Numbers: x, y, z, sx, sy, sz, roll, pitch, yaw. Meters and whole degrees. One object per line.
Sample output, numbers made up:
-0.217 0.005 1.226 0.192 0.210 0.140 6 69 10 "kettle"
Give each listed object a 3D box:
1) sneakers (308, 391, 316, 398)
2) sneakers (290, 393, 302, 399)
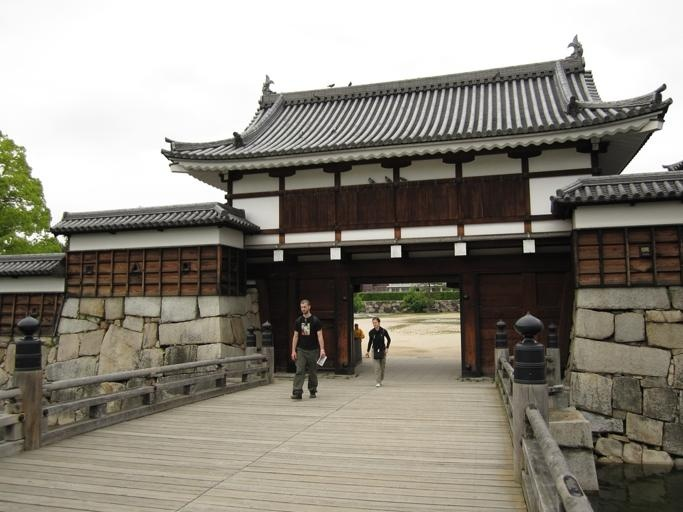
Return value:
-0.626 3.030 12.387 0.071 0.150 0.220 -5 -27 5 "sneakers"
-0.947 2.957 12.009 0.255 0.114 0.086 21 -36 -25 "sneakers"
